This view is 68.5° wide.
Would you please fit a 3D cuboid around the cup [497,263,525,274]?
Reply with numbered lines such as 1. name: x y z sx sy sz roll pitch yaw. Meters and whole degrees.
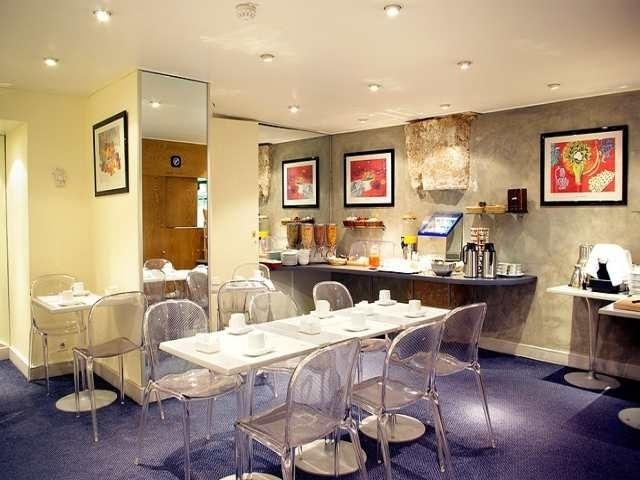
1. cup: 2.179 0.341 5.403 0.148 0.078 0.205 1 3 1

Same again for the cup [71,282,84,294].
1. cup: -2.402 0.488 4.712 0.152 0.159 0.101 2 1 -35

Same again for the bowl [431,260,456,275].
1. bowl: 1.427 0.310 5.425 0.206 0.129 0.169 3 1 41

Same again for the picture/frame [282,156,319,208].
1. picture/frame: -0.264 -0.893 7.021 0.683 0.925 0.062 0 1 21

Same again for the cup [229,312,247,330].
1. cup: -0.569 0.578 3.370 0.130 0.113 0.098 -4 7 -33

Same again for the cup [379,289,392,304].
1. cup: 0.585 0.510 4.199 0.129 0.154 0.136 -2 -1 0

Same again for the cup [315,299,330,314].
1. cup: 0.030 0.532 3.789 0.094 0.075 0.095 0 6 0

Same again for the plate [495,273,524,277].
1. plate: 2.193 0.396 5.376 0.291 0.044 0.318 1 3 22

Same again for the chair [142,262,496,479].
1. chair: 0.160 1.061 3.354 2.211 1.125 1.321 -3 4 -38

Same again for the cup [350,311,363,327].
1. cup: 0.282 0.589 3.480 0.085 0.089 0.086 -1 5 0

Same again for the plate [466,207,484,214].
1. plate: 1.863 -0.354 5.624 0.178 0.077 0.314 0 3 16

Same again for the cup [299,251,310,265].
1. cup: -0.212 0.251 6.504 0.171 0.181 0.139 1 0 27

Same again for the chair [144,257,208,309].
1. chair: -1.371 0.398 4.465 0.669 0.487 0.369 0 -3 -31

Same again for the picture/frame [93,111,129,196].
1. picture/frame: -2.056 -0.830 4.620 0.024 0.769 0.867 -4 5 -45

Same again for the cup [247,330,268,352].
1. cup: -0.394 0.638 2.943 0.103 0.115 0.108 0 4 0

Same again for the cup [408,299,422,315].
1. cup: 0.783 0.555 3.868 0.102 0.121 0.103 0 0 0

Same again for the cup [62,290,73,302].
1. cup: -2.390 0.540 4.456 0.097 0.103 0.078 0 -5 10

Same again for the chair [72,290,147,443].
1. chair: -1.927 0.996 4.320 0.599 1.090 1.402 -3 4 -30

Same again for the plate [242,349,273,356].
1. plate: -0.382 0.707 2.919 0.183 0.028 0.078 -1 3 -10

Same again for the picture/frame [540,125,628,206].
1. picture/frame: 2.864 -0.808 5.016 0.849 0.926 0.031 0 -1 36

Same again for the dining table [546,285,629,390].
1. dining table: 2.884 1.090 4.761 0.691 0.769 0.680 12 15 -24

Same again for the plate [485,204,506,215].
1. plate: 2.057 -0.361 5.499 0.224 0.106 0.261 1 3 19

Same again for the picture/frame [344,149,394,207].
1. picture/frame: 0.729 -0.894 6.644 0.782 0.848 0.061 0 1 35
